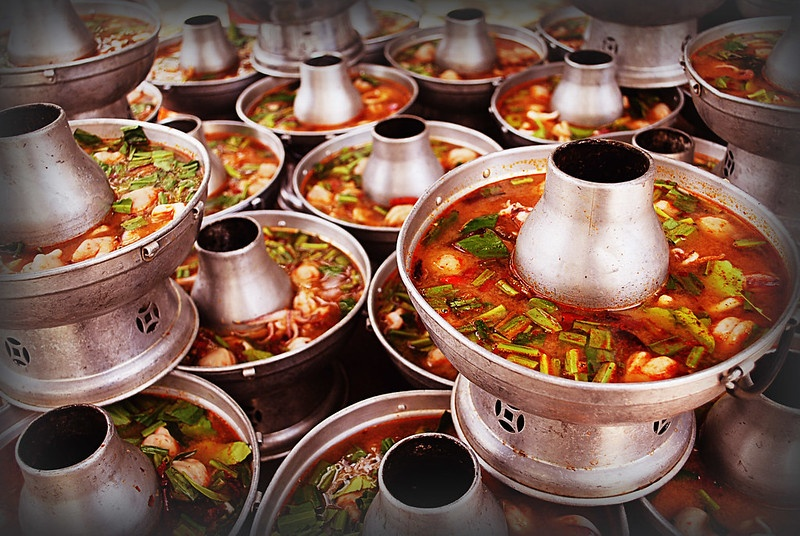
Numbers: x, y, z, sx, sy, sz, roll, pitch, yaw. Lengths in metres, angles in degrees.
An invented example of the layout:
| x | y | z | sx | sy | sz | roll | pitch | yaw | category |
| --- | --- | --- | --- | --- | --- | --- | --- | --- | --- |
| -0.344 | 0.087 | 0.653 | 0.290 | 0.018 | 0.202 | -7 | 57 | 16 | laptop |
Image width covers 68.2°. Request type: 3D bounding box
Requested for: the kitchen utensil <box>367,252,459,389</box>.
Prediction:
| x | y | z | sx | sy | sz | roll | pitch | yaw | category |
| --- | --- | --- | --- | --- | --- | --- | --- | --- | --- |
| 0.047 | 0.309 | 3.049 | 0.620 | 0.295 | 0.574 | -2 | 40 | -2 | kitchen utensil |
